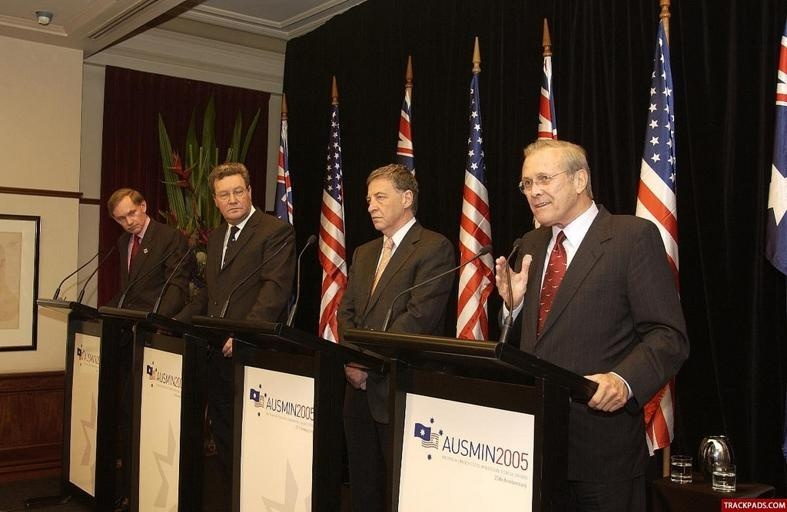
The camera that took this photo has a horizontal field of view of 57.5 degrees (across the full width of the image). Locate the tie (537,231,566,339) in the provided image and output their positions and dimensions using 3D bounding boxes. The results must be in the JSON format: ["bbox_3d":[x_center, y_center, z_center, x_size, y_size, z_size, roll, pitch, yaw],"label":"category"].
[{"bbox_3d":[0.865,0.132,3.933,0.063,0.679,0.100,30,-26,-29],"label":"tie"}]

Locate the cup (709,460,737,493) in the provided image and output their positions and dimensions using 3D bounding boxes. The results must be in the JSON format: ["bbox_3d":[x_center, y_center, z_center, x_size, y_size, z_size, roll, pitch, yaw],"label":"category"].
[{"bbox_3d":[1.939,1.307,4.216,0.120,0.170,0.140,1,-9,-8],"label":"cup"}]

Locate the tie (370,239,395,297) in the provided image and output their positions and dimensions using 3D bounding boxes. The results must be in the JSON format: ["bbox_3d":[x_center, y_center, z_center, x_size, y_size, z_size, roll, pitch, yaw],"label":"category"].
[{"bbox_3d":[-0.061,0.025,4.882,0.075,0.618,0.073,4,-42,19],"label":"tie"}]

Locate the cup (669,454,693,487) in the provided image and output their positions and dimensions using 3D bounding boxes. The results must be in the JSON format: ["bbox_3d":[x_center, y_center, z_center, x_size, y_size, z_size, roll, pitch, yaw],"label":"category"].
[{"bbox_3d":[1.758,1.314,4.346,0.121,0.171,0.135,1,-6,-8],"label":"cup"}]
